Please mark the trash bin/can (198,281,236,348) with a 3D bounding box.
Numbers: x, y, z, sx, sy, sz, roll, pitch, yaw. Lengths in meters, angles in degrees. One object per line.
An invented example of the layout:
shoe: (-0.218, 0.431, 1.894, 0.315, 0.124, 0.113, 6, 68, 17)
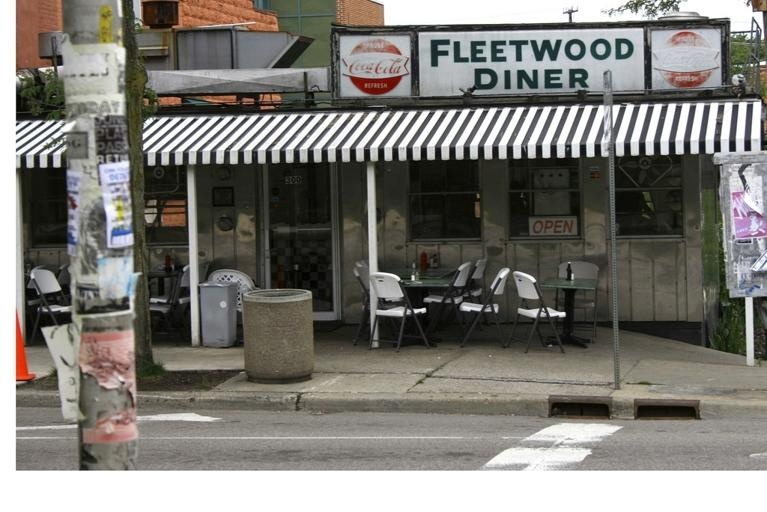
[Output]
trash bin/can: (-2.888, 1.061, 20.412, 0.641, 1.164, 0.396, -3, 3, -10)
